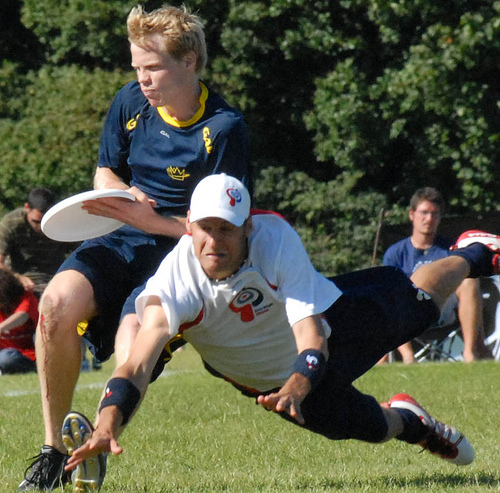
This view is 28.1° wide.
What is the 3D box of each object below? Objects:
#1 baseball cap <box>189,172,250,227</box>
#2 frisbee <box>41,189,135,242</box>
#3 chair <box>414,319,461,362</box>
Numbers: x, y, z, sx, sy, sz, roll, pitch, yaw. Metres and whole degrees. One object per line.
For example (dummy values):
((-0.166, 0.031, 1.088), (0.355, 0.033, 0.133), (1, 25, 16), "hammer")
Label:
((-0.173, -0.254, 5.706), (0.334, 0.276, 0.220), (-1, 4, -2), "baseball cap")
((-1.020, -0.193, 6.291), (0.553, 0.324, 0.452), (-1, 4, -6), "frisbee")
((1.958, 1.018, 10.814), (0.515, 0.585, 0.438), (7, -16, 10), "chair")
